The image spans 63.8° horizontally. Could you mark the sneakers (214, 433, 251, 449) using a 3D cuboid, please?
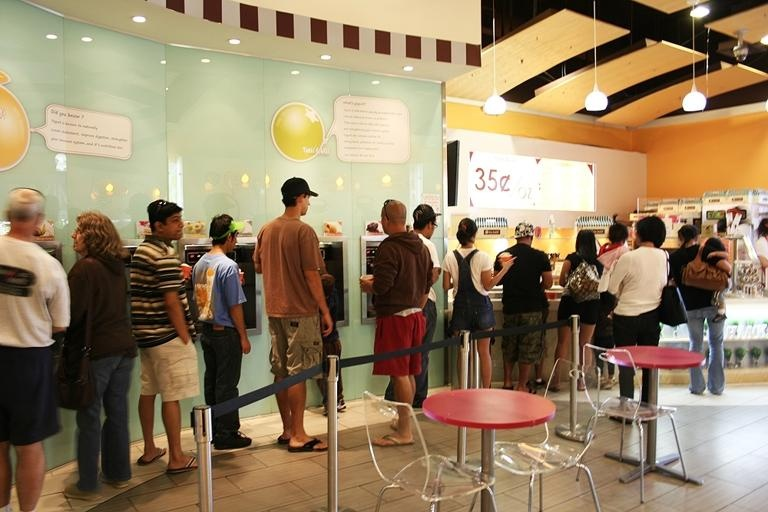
[{"bbox_3d":[-1.446,1.809,6.002,0.323,0.136,0.145,0,0,-32],"label":"sneakers"}]

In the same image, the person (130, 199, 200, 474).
[{"bbox_3d":[-1.961,0.721,5.564,0.600,2.448,0.325,1,6,14],"label":"person"}]

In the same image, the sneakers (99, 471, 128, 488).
[{"bbox_3d":[-2.289,1.962,5.376,0.266,0.120,0.103,15,-4,1],"label":"sneakers"}]

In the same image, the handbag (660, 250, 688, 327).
[{"bbox_3d":[2.951,0.504,6.328,0.247,0.463,0.223,1,6,20],"label":"handbag"}]

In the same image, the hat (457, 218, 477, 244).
[{"bbox_3d":[0.931,-0.285,6.841,0.218,0.233,0.274,0,24,13],"label":"hat"}]

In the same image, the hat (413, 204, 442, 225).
[{"bbox_3d":[0.474,-0.446,6.508,0.265,0.152,0.179,-26,25,-36],"label":"hat"}]

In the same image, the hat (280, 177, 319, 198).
[{"bbox_3d":[-0.805,-0.667,5.980,0.292,0.166,0.198,-7,10,-30],"label":"hat"}]

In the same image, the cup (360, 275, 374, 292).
[{"bbox_3d":[-0.123,0.259,6.027,0.146,0.137,0.141,-2,-5,0],"label":"cup"}]

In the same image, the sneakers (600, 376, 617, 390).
[{"bbox_3d":[2.808,1.586,7.693,0.148,0.183,0.437,-7,-14,29],"label":"sneakers"}]

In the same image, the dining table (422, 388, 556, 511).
[{"bbox_3d":[0.772,1.189,4.689,0.915,0.995,0.930,4,4,40],"label":"dining table"}]

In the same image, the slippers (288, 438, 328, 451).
[{"bbox_3d":[-0.719,1.829,5.921,0.281,0.084,0.146,0,-4,-1],"label":"slippers"}]

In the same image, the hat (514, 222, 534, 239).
[{"bbox_3d":[1.657,-0.301,7.211,0.229,0.138,0.151,-6,14,-40],"label":"hat"}]

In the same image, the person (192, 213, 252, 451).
[{"bbox_3d":[-1.548,0.526,5.946,0.518,1.839,0.367,-1,5,-7],"label":"person"}]

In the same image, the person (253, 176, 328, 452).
[{"bbox_3d":[-0.829,0.562,5.960,0.659,2.621,0.438,-2,6,-12],"label":"person"}]

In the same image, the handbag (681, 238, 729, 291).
[{"bbox_3d":[3.780,0.078,7.251,0.494,0.617,0.339,5,-6,25],"label":"handbag"}]

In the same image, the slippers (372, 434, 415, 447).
[{"bbox_3d":[0.091,1.765,5.847,0.465,0.128,0.183,4,-12,-7],"label":"slippers"}]
